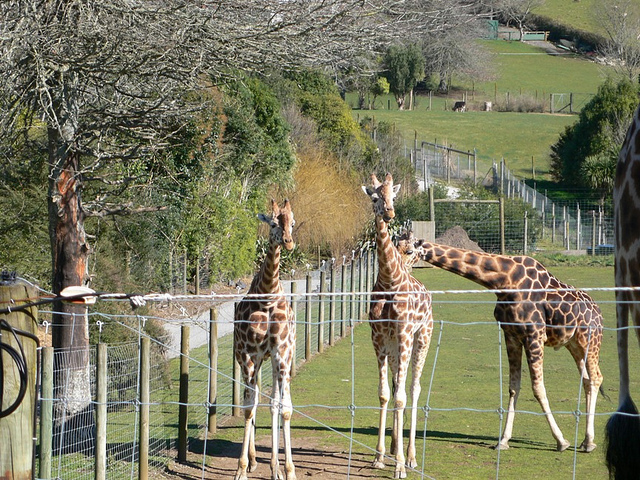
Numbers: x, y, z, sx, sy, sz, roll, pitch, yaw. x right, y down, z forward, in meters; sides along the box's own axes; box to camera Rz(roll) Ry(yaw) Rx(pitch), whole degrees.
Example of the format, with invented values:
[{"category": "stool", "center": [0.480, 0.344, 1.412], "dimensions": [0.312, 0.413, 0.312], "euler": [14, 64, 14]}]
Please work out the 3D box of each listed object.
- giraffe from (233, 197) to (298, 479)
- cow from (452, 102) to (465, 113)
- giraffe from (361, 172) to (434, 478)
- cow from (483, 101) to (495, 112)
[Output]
[{"category": "giraffe", "center": [-1.345, 2.385, 39.139], "dimensions": [1.472, 6.779, 0.920], "euler": [0, 4, -2]}, {"category": "cow", "center": [8.590, -8.220, 99.792], "dimensions": [0.514, 0.530, 1.589], "euler": [-2, 5, -16]}, {"category": "giraffe", "center": [1.887, 2.030, 39.651], "dimensions": [1.451, 7.322, 1.585], "euler": [-2, 4, -20]}, {"category": "cow", "center": [10.520, -8.383, 100.807], "dimensions": [0.297, 0.817, 1.277], "euler": [6, 12, 23]}]
